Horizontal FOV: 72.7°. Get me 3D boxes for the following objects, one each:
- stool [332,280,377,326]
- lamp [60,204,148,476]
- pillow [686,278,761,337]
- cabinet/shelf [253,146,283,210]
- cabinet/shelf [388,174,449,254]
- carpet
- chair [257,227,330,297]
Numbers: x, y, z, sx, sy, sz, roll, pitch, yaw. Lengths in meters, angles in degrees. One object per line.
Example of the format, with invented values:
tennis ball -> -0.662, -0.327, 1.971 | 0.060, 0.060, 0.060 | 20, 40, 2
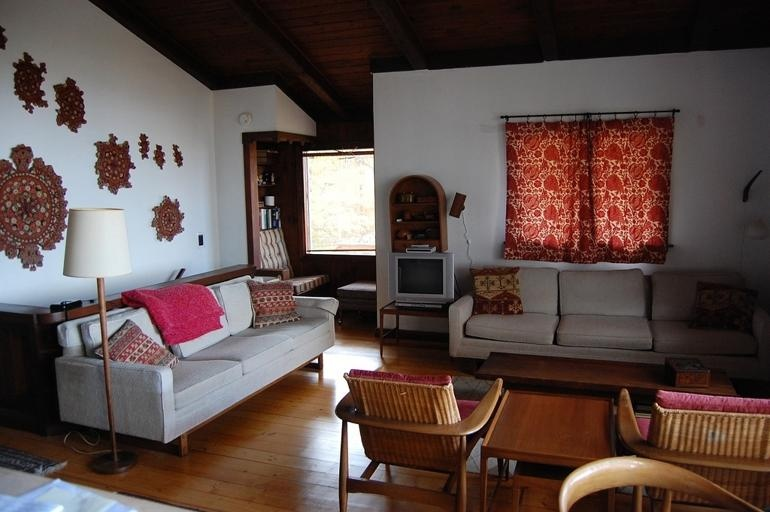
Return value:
stool -> -0.401, 0.600, 7.586 | 0.542, 0.463, 0.777 | 0, 3, 6
lamp -> -2.237, 0.660, 4.235 | 0.461, 2.084, 0.461 | 5, 10, 41
pillow -> 3.473, 0.518, 5.375 | 0.538, 0.449, 0.378 | 3, 8, 34
cabinet/shelf -> -1.907, -1.289, 8.354 | 0.305, 0.989, 0.439 | 1, 7, 19
cabinet/shelf -> 0.412, -0.538, 6.535 | 0.726, 0.937, 0.356 | -1, 7, 5
carpet -> 0.932, 1.488, 4.998 | 0.572, 0.741, 0.651 | 0, 0, 36
chair -> -1.506, 0.064, 7.907 | 1.010, 1.094, 1.195 | -1, 4, 11
